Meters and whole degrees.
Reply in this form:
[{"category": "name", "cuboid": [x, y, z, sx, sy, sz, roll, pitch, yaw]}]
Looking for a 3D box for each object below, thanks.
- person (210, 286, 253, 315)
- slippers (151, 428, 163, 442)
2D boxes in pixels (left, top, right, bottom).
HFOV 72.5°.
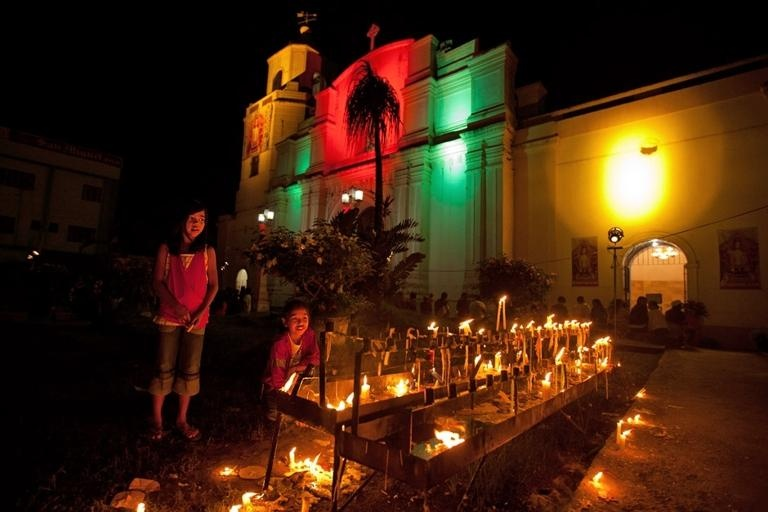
[{"category": "person", "cuboid": [-7.270, 2.156, 25.050, 1.646, 0.730, 1.307, 0, 3, -32]}, {"category": "slippers", "cuboid": [-3.861, 3.037, 8.924, 0.179, 0.139, 0.173, -1, 5, -37]}]
